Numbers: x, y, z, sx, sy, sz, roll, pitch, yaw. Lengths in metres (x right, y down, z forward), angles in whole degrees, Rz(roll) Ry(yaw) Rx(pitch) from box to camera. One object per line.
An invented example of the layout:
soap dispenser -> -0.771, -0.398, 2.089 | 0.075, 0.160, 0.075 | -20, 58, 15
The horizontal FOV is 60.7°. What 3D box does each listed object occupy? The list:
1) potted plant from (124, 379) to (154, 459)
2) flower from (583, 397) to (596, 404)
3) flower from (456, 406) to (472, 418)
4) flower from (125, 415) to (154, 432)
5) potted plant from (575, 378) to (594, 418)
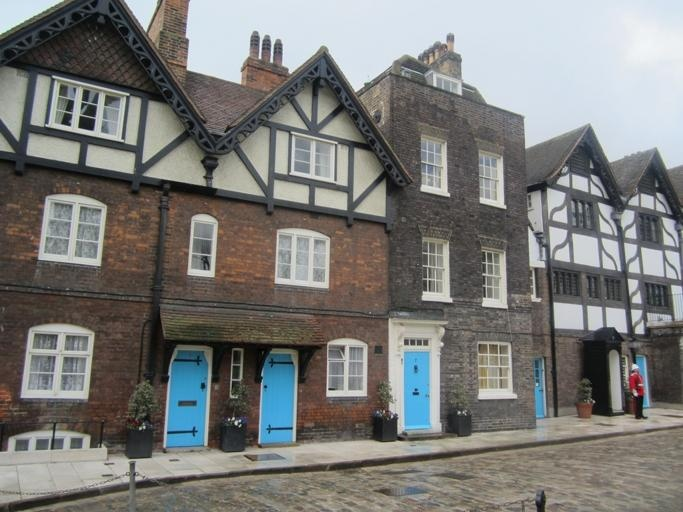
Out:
potted plant -> -5.434, 4.488, 15.837 | 0.698, 1.953, 0.402 | 3, -4, -19
flower -> 10.972, 6.439, 25.810 | 0.385, 0.178, 0.385 | -2, -7, 33
flower -> 4.304, 5.531, 20.509 | 0.455, 0.280, 0.441 | 3, -9, -21
flower -> -5.516, 4.549, 15.963 | 0.475, 0.298, 0.459 | 5, -12, -22
potted plant -> 10.883, 6.357, 26.010 | 0.707, 1.641, 1.604 | 0, -5, 24
